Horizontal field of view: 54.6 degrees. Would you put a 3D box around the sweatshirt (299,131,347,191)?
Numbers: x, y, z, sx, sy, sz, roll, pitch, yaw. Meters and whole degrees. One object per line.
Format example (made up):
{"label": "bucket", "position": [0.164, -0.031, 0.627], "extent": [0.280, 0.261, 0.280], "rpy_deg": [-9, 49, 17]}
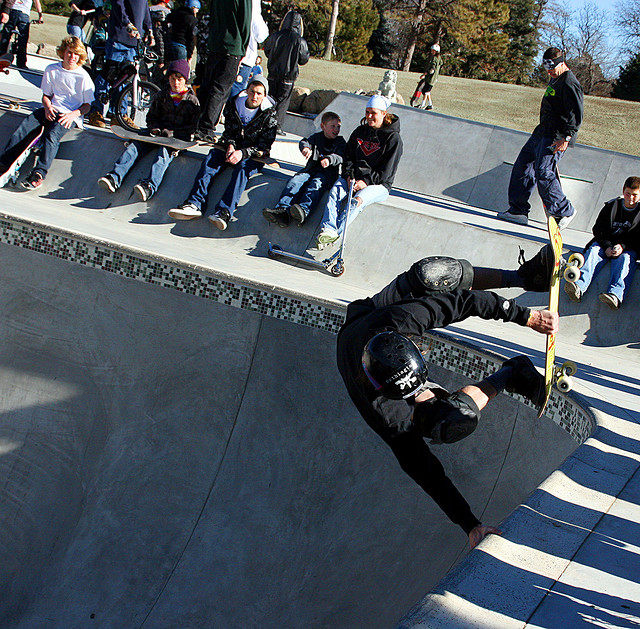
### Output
{"label": "sweatshirt", "position": [0.036, -1.754, 7.090], "extent": [0.492, 0.608, 0.719], "rpy_deg": [0, 23, -24]}

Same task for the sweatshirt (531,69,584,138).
{"label": "sweatshirt", "position": [2.703, -2.355, 7.025], "extent": [0.467, 0.729, 0.309], "rpy_deg": [19, 22, 25]}

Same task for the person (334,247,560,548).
{"label": "person", "position": [0.872, 0.295, 4.338], "extent": [0.968, 2.134, 1.444], "rpy_deg": [13, 20, -27]}

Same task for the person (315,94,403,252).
{"label": "person", "position": [0.441, -1.529, 6.774], "extent": [0.620, 1.682, 1.226], "rpy_deg": [16, 21, 19]}

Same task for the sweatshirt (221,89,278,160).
{"label": "sweatshirt", "position": [-0.876, -1.982, 6.997], "extent": [0.614, 0.846, 0.532], "rpy_deg": [14, 8, 10]}

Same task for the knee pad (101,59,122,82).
{"label": "knee pad", "position": [-2.834, -3.318, 8.423], "extent": [0.230, 0.289, 0.061], "rpy_deg": [3, 20, -16]}

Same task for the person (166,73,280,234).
{"label": "person", "position": [-0.962, -1.812, 6.933], "extent": [0.732, 1.670, 1.300], "rpy_deg": [15, 21, 17]}

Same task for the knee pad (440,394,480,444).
{"label": "knee pad", "position": [0.916, 0.697, 4.108], "extent": [0.232, 0.176, 0.315], "rpy_deg": [33, 56, 20]}

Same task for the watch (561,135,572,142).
{"label": "watch", "position": [2.800, -2.037, 7.112], "extent": [0.100, 0.039, 0.110], "rpy_deg": [4, 63, -6]}

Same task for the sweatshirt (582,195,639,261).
{"label": "sweatshirt", "position": [3.004, -0.863, 6.246], "extent": [0.504, 0.600, 0.357], "rpy_deg": [22, 23, 31]}

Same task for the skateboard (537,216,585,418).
{"label": "skateboard", "position": [2.015, 0.071, 5.220], "extent": [0.266, 1.919, 0.428], "rpy_deg": [3, 2, -2]}

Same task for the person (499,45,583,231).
{"label": "person", "position": [2.717, -2.014, 7.408], "extent": [0.781, 2.085, 0.865], "rpy_deg": [9, 19, 1]}

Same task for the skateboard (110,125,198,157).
{"label": "skateboard", "position": [-1.943, -2.061, 7.362], "extent": [0.830, 0.146, 0.216], "rpy_deg": [17, 49, 2]}

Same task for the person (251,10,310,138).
{"label": "person", "position": [-0.586, -3.793, 9.713], "extent": [0.617, 1.767, 0.543], "rpy_deg": [15, 19, 1]}

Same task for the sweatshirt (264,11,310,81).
{"label": "sweatshirt", "position": [-0.519, -4.145, 9.527], "extent": [0.639, 0.991, 0.508], "rpy_deg": [9, 20, -1]}

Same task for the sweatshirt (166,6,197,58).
{"label": "sweatshirt", "position": [-2.091, -4.350, 9.510], "extent": [0.410, 0.704, 0.499], "rpy_deg": [-1, 22, -25]}

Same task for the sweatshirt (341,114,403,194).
{"label": "sweatshirt", "position": [0.558, -1.784, 7.006], "extent": [0.626, 0.897, 0.585], "rpy_deg": [16, 2, 26]}

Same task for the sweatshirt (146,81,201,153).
{"label": "sweatshirt", "position": [-1.770, -2.466, 7.484], "extent": [0.572, 0.724, 0.405], "rpy_deg": [5, 35, -20]}

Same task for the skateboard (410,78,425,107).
{"label": "skateboard", "position": [2.211, -5.157, 14.256], "extent": [0.200, 0.693, 0.155], "rpy_deg": [12, -15, 29]}
